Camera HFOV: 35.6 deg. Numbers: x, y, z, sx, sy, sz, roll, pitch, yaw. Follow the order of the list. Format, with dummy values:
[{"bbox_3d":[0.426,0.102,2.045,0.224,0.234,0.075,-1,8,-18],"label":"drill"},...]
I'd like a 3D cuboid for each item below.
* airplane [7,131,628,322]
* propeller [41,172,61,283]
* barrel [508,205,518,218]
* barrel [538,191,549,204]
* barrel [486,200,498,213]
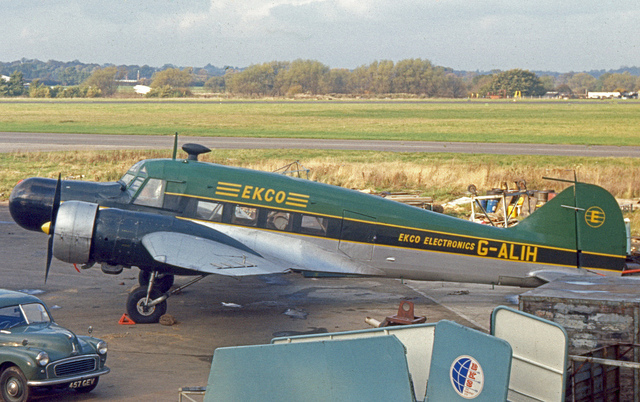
[{"bbox_3d":[-0.176,1.431,49.459,39.815,9.639,9.199,0,-2,0],"label":"airplane"},{"bbox_3d":[-11.880,1.163,43.851,0.626,4.505,1.446,3,4,-14],"label":"propeller"},{"bbox_3d":[10.743,0.604,55.022,0.662,0.555,0.587,-1,4,-6],"label":"barrel"},{"bbox_3d":[11.856,-0.152,52.760,0.693,0.620,0.669,1,6,6],"label":"barrel"},{"bbox_3d":[9.640,0.330,55.715,1.020,0.782,0.619,0,3,-5],"label":"barrel"}]
